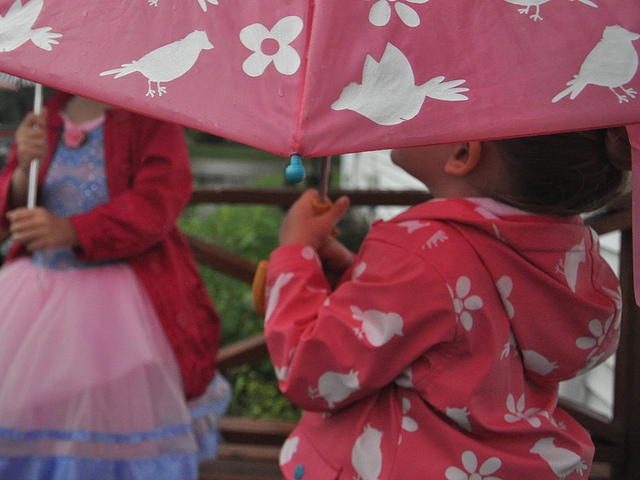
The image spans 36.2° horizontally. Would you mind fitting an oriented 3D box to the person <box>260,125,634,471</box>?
[{"bbox_3d":[0.400,0.157,2.641,0.709,1.157,0.889,15,17,26],"label":"person"}]
